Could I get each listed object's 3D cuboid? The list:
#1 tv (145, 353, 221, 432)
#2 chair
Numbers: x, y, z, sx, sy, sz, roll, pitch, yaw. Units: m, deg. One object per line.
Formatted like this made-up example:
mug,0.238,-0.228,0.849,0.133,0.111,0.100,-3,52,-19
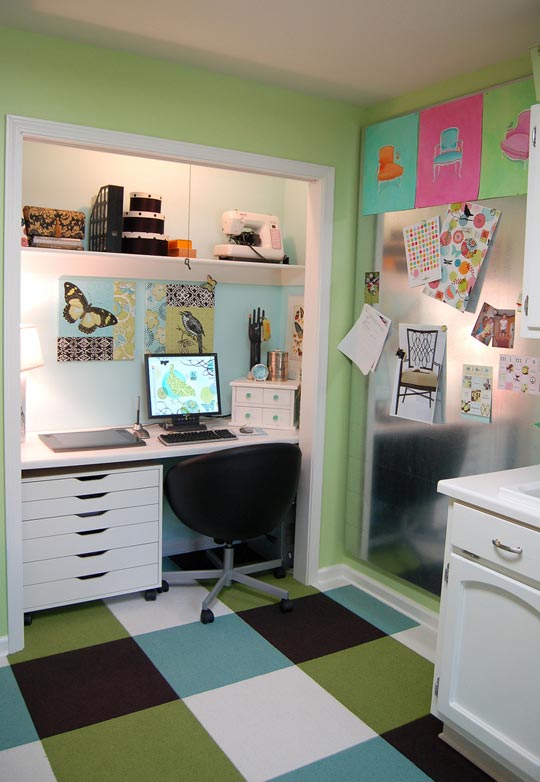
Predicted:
tv,-0.455,0.004,3.039,0.377,0.359,0.116,-3,2,-30
chair,-0.168,0.538,2.703,0.588,0.778,0.559,-1,5,-30
